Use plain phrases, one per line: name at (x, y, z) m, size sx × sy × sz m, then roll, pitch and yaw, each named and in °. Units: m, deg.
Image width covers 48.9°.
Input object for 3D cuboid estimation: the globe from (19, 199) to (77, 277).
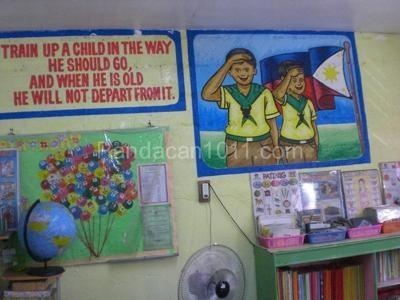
globe at (-1.249, 0.679, 3.629) m, size 0.405 × 0.642 × 0.330 m, roll -3°, pitch -6°, yaw -1°
